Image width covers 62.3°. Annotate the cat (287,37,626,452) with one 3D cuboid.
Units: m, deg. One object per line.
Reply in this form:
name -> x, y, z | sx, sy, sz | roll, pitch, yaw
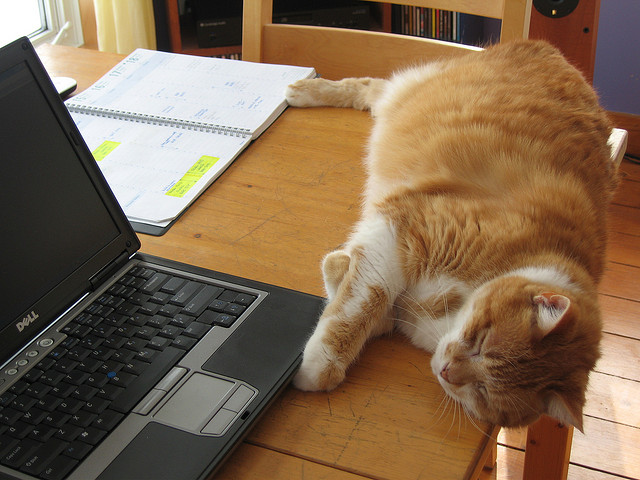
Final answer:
cat -> 0.221, -0.043, 1.079 | 0.653, 0.431, 0.790 | 19, 67, -17
